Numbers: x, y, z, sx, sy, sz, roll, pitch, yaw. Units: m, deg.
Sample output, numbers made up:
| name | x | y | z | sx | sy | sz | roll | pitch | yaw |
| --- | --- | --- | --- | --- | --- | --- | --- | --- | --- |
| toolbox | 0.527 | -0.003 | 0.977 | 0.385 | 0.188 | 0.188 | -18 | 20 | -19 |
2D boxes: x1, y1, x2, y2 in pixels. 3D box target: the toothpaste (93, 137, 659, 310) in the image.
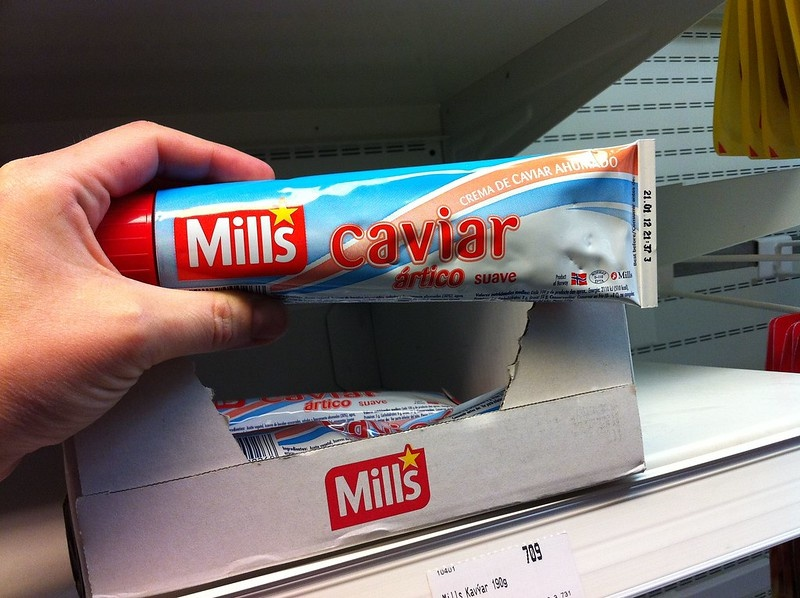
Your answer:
| name | x | y | z | sx | sy | sz | roll | pitch | yaw |
| --- | --- | --- | --- | --- | --- | --- | --- | --- | --- |
| toothpaste | -0.024 | -0.072 | 0.752 | 0.648 | 0.191 | 0.103 | -3 | 15 | -4 |
